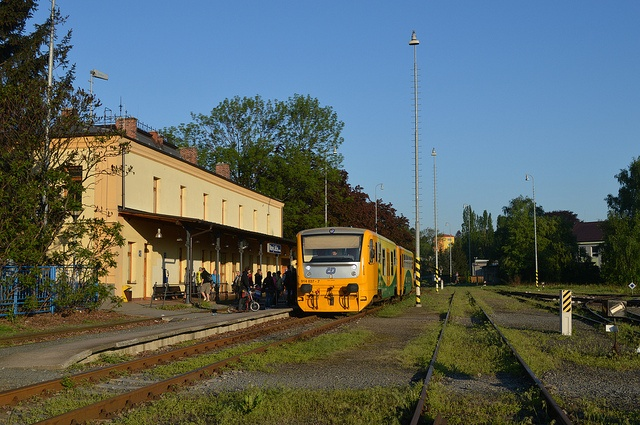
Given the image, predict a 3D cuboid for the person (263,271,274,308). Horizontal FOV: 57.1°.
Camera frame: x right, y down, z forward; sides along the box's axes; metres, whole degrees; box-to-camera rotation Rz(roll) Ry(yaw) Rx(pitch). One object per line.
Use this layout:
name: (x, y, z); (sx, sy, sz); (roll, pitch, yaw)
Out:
person: (-2.857, 4.324, 32.779); (0.623, 1.955, 0.946); (1, -10, -8)

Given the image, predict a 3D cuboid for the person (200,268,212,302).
person: (-6.061, 3.866, 31.408); (0.556, 1.658, 2.292); (1, -11, -11)

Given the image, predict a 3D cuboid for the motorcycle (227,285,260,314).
motorcycle: (-3.517, 4.466, 29.653); (0.876, 1.354, 2.162); (-6, -15, 20)
